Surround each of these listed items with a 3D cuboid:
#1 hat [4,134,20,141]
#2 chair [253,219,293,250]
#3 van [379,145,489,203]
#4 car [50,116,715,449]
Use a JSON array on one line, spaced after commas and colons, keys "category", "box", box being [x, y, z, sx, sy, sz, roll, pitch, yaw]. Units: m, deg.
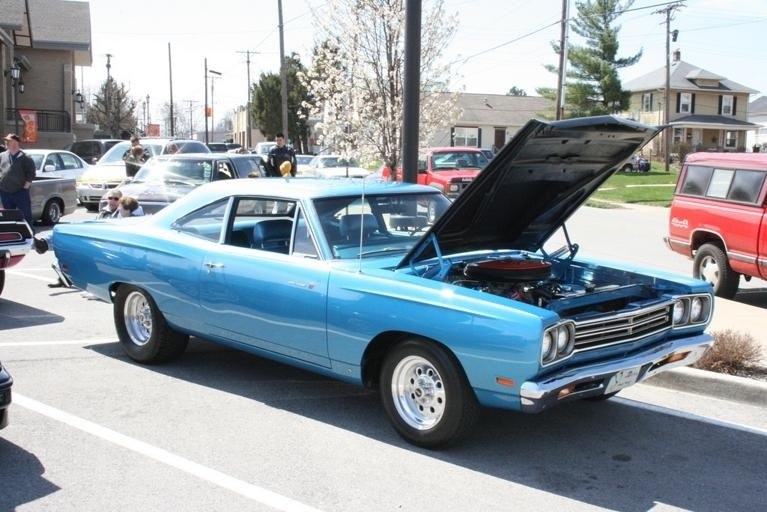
[{"category": "hat", "box": [-8.122, -2.585, 13.730, 0.210, 0.129, 0.362, -9, 16, -37]}, {"category": "chair", "box": [-1.151, -0.215, 6.509, 0.470, 0.302, 0.300, 5, -1, -34]}, {"category": "van", "box": [2.048, -2.595, 19.972, 2.254, 1.326, 3.470, -5, 8, -32]}, {"category": "car", "box": [-0.438, 0.052, 6.961, 6.361, 2.358, 3.094, 4, 8, 36]}]
